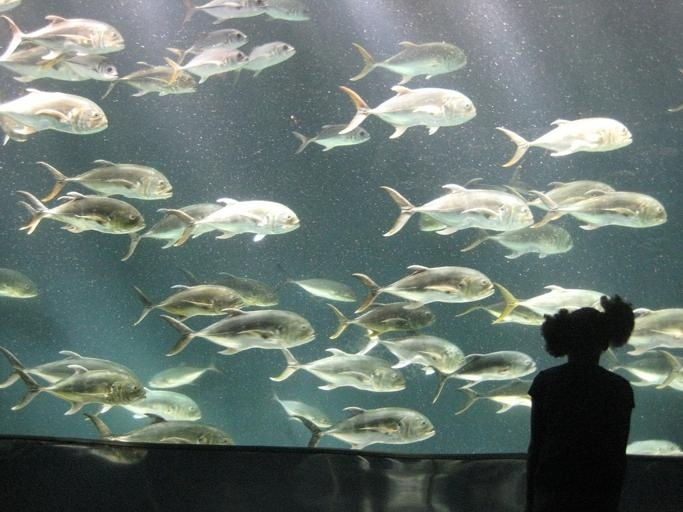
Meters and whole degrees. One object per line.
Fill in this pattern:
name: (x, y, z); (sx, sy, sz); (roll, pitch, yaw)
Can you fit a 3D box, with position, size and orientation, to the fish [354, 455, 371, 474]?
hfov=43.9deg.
fish: (0.214, 2.062, 8.433); (0.125, 0.118, 0.169); (-7, 11, -7)
